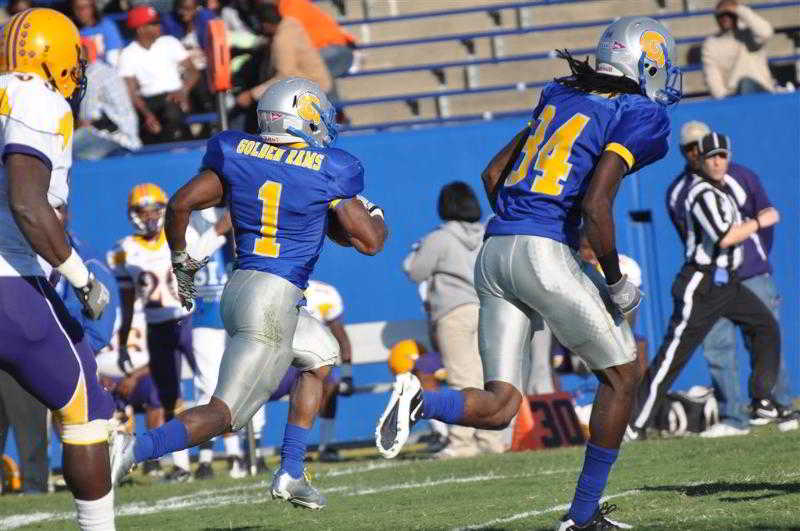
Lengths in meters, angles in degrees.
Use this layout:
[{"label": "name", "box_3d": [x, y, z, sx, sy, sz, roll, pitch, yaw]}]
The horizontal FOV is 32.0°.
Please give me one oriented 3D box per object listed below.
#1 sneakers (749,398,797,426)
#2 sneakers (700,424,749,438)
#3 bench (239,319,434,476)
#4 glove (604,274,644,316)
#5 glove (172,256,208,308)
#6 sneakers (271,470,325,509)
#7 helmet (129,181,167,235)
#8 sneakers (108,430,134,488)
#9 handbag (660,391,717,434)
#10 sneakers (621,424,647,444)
[{"label": "sneakers", "box_3d": [3.098, 1.244, 11.788, 0.495, 0.227, 0.181, 3, -7, -26]}, {"label": "sneakers", "box_3d": [2.773, 1.422, 11.962, 0.398, 0.122, 0.153, 1, -20, 1]}, {"label": "bench", "box_3d": [-0.467, 1.134, 13.205, 1.672, 1.419, 1.447, -1, -5, -7]}, {"label": "glove", "box_3d": [1.486, 0.187, 9.546, 0.152, 0.215, 0.314, -18, 4, 15]}, {"label": "glove", "box_3d": [-1.613, 0.112, 10.504, 0.320, 0.346, 0.111, -13, 14, -11]}, {"label": "sneakers", "box_3d": [-0.736, 1.646, 10.195, 0.504, 0.244, 0.177, 27, -22, -39]}, {"label": "helmet", "box_3d": [-2.369, -0.548, 12.999, 0.356, 0.484, 0.475, -8, 9, -6]}, {"label": "sneakers", "box_3d": [-1.885, 1.303, 9.387, 0.189, 0.379, 0.146, 2, -6, -32]}, {"label": "handbag", "box_3d": [2.523, 1.299, 12.255, 0.495, 0.372, 0.117, -2, -5, 9]}, {"label": "sneakers", "box_3d": [2.053, 1.466, 12.185, 0.199, 0.159, 0.458, -2, -5, 9]}]
